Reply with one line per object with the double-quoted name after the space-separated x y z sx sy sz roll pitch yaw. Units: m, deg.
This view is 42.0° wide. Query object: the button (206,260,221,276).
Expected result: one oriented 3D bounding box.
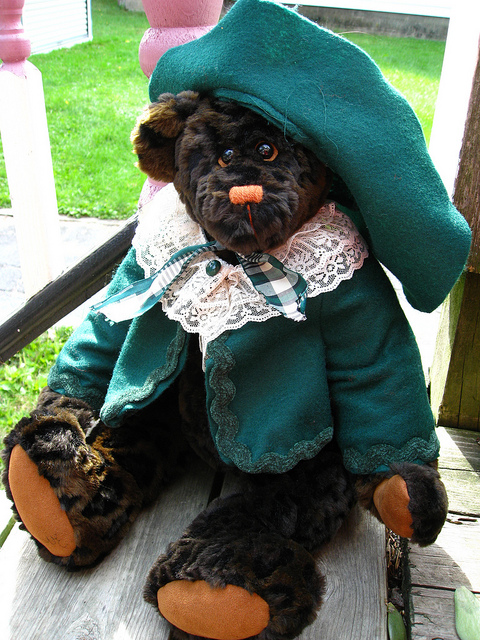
-0.054 -0.106 1.257 0.033 0.026 0.008 -2 9 -43 "button"
